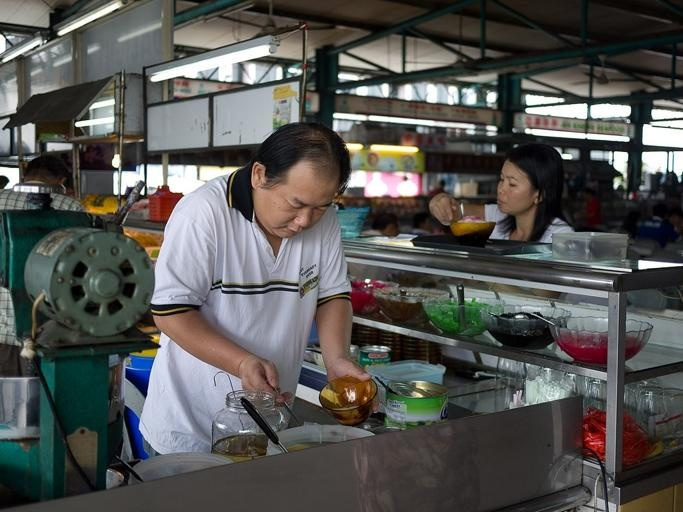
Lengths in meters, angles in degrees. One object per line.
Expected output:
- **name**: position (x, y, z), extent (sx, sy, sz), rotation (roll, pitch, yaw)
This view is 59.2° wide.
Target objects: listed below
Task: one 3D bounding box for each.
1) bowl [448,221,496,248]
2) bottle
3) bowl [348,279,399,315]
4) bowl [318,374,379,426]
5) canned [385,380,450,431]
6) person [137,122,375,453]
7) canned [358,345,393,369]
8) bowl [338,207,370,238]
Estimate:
- **bowl**: position (0.507, -0.095, 2.379), extent (0.118, 0.067, 0.120), rotation (0, 8, 0)
- **bottle**: position (-0.234, 0.428, 1.523), extent (0.193, 0.140, 0.254), rotation (0, 1, -7)
- **bowl**: position (0.117, 0.163, 2.572), extent (0.155, 0.083, 0.157), rotation (1, 2, 0)
- **bowl**: position (0.018, 0.404, 1.658), extent (0.154, 0.122, 0.121), rotation (0, 1, -2)
- **canned**: position (0.218, 0.431, 1.756), extent (0.181, 0.106, 0.180), rotation (0, 1, 1)
- **person**: position (-0.239, 0.132, 1.837), extent (0.709, 1.032, 0.589), rotation (0, 1, -19)
- **canned**: position (0.137, 0.428, 2.593), extent (0.090, 0.102, 0.091), rotation (1, 5, 18)
- **bowl**: position (0.059, -0.181, 3.145), extent (0.158, 0.116, 0.154), rotation (1, 7, 0)
